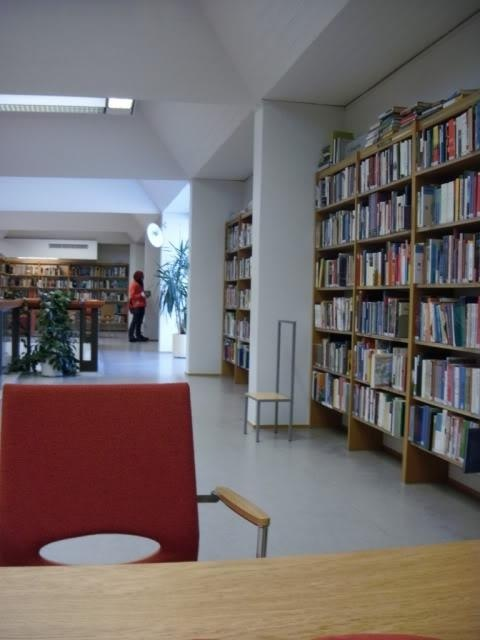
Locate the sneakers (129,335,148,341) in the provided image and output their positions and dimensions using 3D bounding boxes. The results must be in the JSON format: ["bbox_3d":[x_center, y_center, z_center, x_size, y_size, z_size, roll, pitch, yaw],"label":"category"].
[{"bbox_3d":[-2.699,0.512,12.557,0.433,0.227,0.178,-1,2,-13],"label":"sneakers"}]

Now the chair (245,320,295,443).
[{"bbox_3d":[0.297,0.557,4.545,0.315,1.191,0.420,5,-3,-18],"label":"chair"}]
